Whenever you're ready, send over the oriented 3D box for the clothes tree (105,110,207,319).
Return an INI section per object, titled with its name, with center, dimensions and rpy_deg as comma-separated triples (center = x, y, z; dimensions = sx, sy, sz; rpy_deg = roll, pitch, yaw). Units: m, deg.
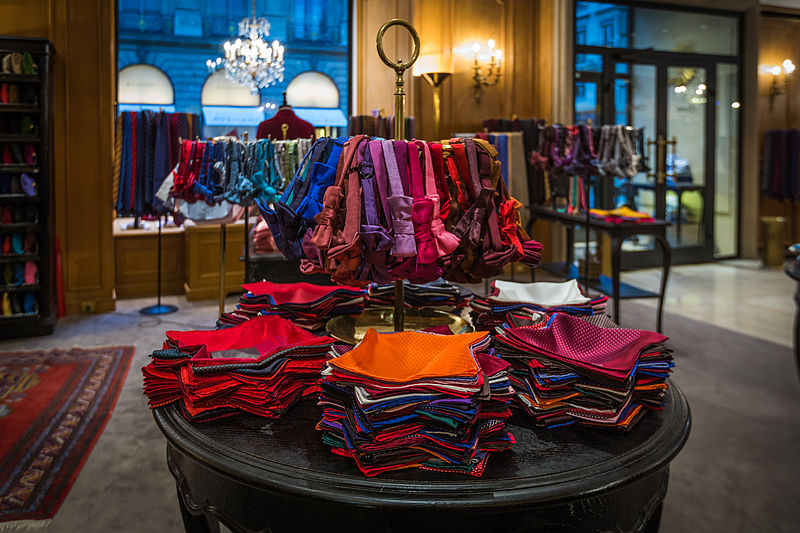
[clothes tree]
center = -2.361, -0.529, 6.299
dimensions = 0.754, 2.008, 0.363
rpy_deg = 0, 14, -23
